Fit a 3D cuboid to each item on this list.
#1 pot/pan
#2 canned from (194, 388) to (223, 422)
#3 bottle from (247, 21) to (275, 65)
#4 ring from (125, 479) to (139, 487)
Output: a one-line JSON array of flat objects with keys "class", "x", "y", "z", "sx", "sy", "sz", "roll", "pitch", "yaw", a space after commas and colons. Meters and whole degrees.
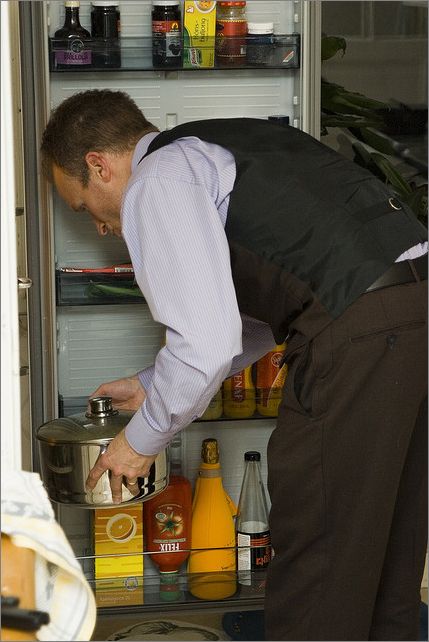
[{"class": "pot/pan", "x": -0.216, "y": 0.225, "z": 1.207, "sx": 0.236, "sy": 0.161, "sz": 0.222, "roll": -3, "pitch": -1, "yaw": 0}, {"class": "canned", "x": -0.016, "y": 0.241, "z": 1.821, "sx": 0.087, "sy": 0.124, "sz": 0.087, "roll": -3, "pitch": 12, "yaw": -10}, {"class": "bottle", "x": 0.114, "y": -0.696, "z": 1.565, "sx": 0.104, "sy": 0.104, "sz": 0.097, "roll": 0, "pitch": 17, "yaw": -1}, {"class": "ring", "x": -0.150, "y": 0.289, "z": 1.118, "sx": 0.021, "sy": 0.007, "sz": 0.015, "roll": 2, "pitch": -3, "yaw": -6}]
